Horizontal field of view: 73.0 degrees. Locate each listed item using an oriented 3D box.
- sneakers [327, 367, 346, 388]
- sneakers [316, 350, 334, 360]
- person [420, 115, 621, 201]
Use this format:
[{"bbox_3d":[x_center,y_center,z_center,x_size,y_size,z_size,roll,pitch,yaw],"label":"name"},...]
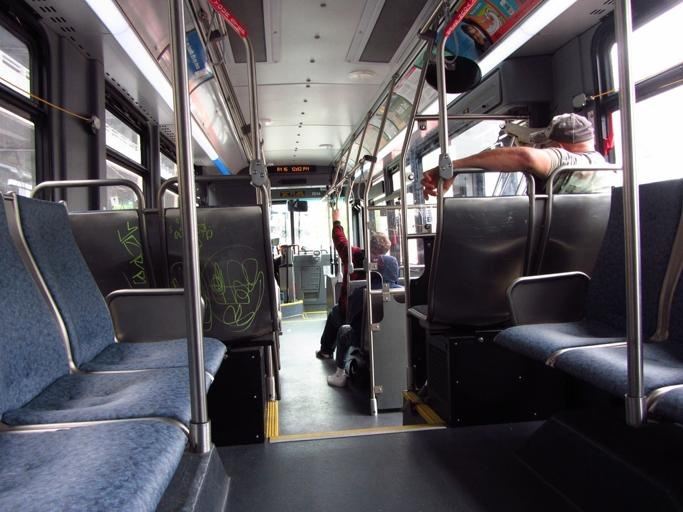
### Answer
[{"bbox_3d":[-0.038,1.304,4.892,0.107,0.131,0.300,1,-1,-11],"label":"sneakers"},{"bbox_3d":[-0.221,1.320,6.134,0.214,0.092,0.088,9,6,37],"label":"sneakers"},{"bbox_3d":[1.100,-0.588,2.766,0.808,0.376,0.636,0,-6,25],"label":"person"}]
